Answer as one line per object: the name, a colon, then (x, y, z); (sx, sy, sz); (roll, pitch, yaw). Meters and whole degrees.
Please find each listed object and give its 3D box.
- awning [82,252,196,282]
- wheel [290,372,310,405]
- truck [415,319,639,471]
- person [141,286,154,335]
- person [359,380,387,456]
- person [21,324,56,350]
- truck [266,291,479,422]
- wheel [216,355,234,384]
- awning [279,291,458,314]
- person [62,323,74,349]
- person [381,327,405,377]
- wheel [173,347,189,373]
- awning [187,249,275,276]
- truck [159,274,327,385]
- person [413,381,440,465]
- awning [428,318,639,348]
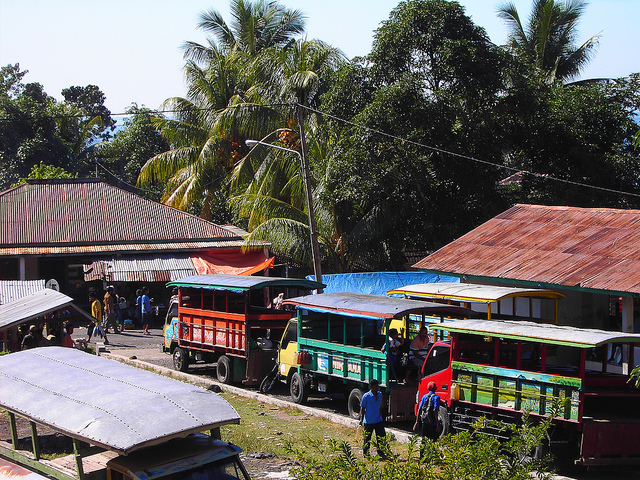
awning: (-8.529, 1.169, 37.808); (4.932, 1.770, 2.451); (4, -8, -16)
wheel: (-0.583, 4.220, 22.797); (0.299, 0.856, 0.832); (6, -7, -26)
truck: (4.991, 3.531, 19.063); (3.044, 2.924, 5.166); (1, 1, -39)
person: (-7.772, 3.144, 35.597); (0.413, 2.095, 1.412); (3, -8, -12)
person: (1.175, 3.995, 18.153); (0.602, 1.596, 1.505); (1, -8, 3)
person: (-8.602, 2.982, 24.419); (0.907, 0.682, 0.642); (4, -8, -18)
truck: (1.268, 3.141, 22.484); (3.100, 2.731, 5.008); (1, 2, -37)
wheel: (-3.027, 4.120, 25.470); (0.312, 0.865, 0.846); (1, -2, -31)
awning: (1.306, 1.695, 21.715); (1.516, 0.744, 4.240); (8, -11, -39)
person: (-8.124, 3.035, 25.746); (0.323, 0.789, 2.652); (4, -9, -17)
person: (1.876, 2.913, 20.878); (0.576, 1.217, 1.555); (1, -8, 6)
wheel: (-4.750, 4.086, 27.261); (0.303, 0.866, 0.839); (1, 4, -29)
awning: (-4.578, 1.067, 38.912); (2.170, 0.594, 2.085); (2, 13, -17)
truck: (-3.039, 2.880, 27.094); (5.478, 3.068, 2.968); (0, 0, 44)
person: (2.429, 3.919, 18.308); (0.540, 1.263, 1.147); (1, -8, 9)
awning: (4.858, 2.088, 18.025); (4.203, 0.633, 1.283); (-4, -10, 34)
